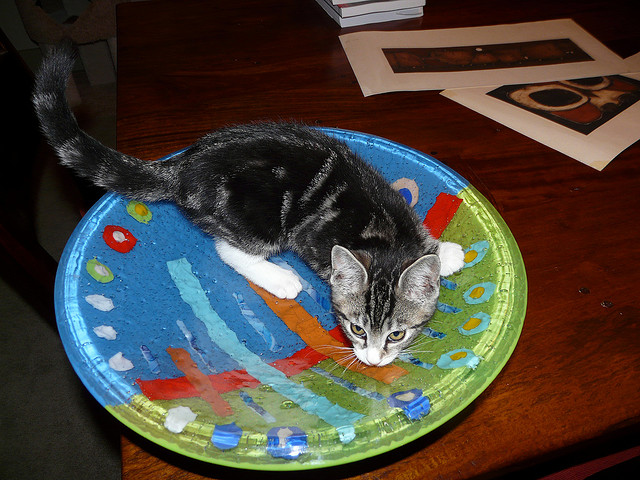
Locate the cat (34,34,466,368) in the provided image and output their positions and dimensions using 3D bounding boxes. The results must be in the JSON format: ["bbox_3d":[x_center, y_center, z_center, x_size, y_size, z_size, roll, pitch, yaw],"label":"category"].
[{"bbox_3d":[-0.135,-0.001,1.664,1.546,0.533,0.569,22,69,-6],"label":"cat"}]
